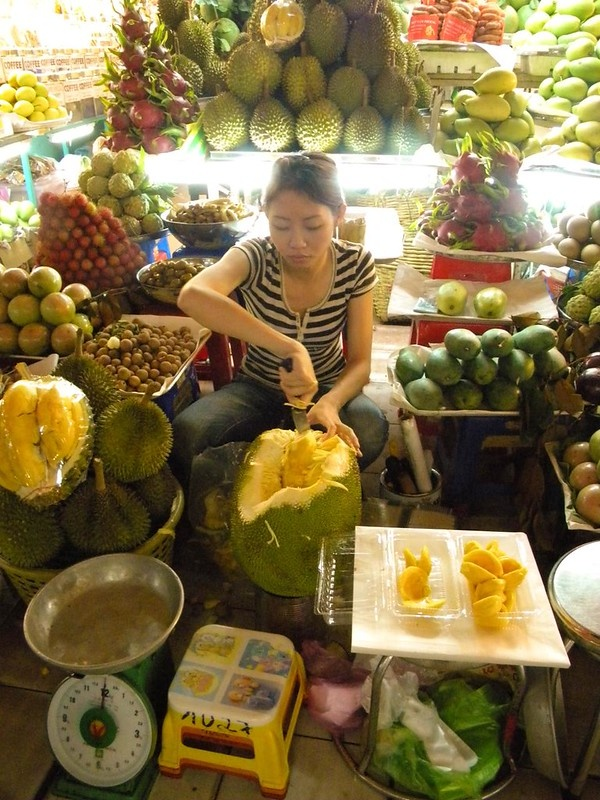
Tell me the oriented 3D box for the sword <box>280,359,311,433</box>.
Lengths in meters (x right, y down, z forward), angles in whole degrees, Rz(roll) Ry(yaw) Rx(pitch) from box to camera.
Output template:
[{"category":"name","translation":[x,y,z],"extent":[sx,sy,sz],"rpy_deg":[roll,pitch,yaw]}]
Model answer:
[{"category":"sword","translation":[-0.005,-0.007,1.753],"extent":[0.093,0.027,0.214],"rpy_deg":[-11,63,2]}]

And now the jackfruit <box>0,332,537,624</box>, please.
[{"category":"jackfruit","translation":[-0.109,0.220,1.747],"extent":[0.904,0.402,0.573],"rpy_deg":[1,45,4]}]

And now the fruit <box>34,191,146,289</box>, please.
[{"category":"fruit","translation":[-0.883,-0.653,2.523],"extent":[0.414,0.393,0.178],"rpy_deg":[-9,27,-19]}]

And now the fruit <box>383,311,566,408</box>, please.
[{"category":"fruit","translation":[0.616,-0.111,2.083],"extent":[0.426,0.170,0.353],"rpy_deg":[-22,33,3]}]

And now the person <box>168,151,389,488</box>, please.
[{"category":"person","translation":[-0.070,-0.217,2.032],"extent":[0.706,1.141,0.754],"rpy_deg":[11,28,21]}]

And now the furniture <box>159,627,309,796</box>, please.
[{"category":"furniture","translation":[-0.153,0.762,1.514],"extent":[0.309,0.238,0.289],"rpy_deg":[5,25,11]}]
